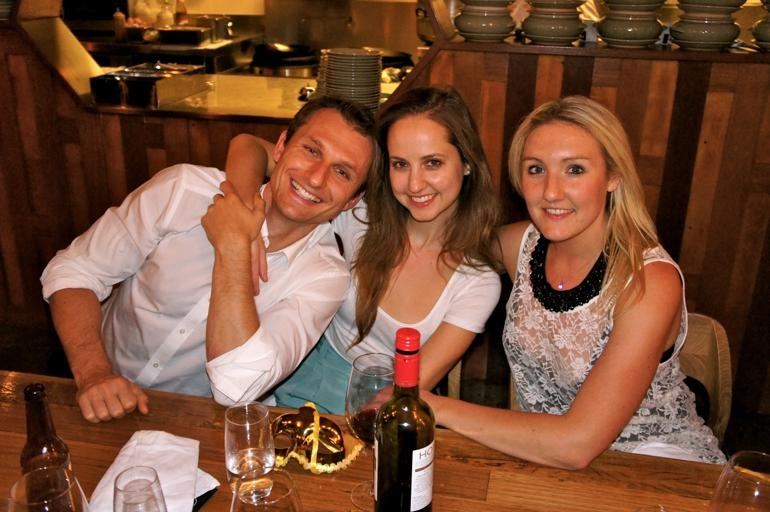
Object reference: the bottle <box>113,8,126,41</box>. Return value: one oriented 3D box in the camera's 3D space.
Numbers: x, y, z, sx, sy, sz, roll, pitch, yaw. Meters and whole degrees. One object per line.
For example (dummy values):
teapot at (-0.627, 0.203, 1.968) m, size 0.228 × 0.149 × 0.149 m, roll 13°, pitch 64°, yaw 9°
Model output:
bottle at (-2.268, -1.985, 5.394) m, size 0.089 × 0.254 × 0.220 m, roll -4°, pitch 16°, yaw -20°

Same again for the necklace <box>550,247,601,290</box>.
necklace at (0.715, 0.058, 2.446) m, size 0.130 × 0.177 × 0.045 m, roll 7°, pitch -7°, yaw 32°
